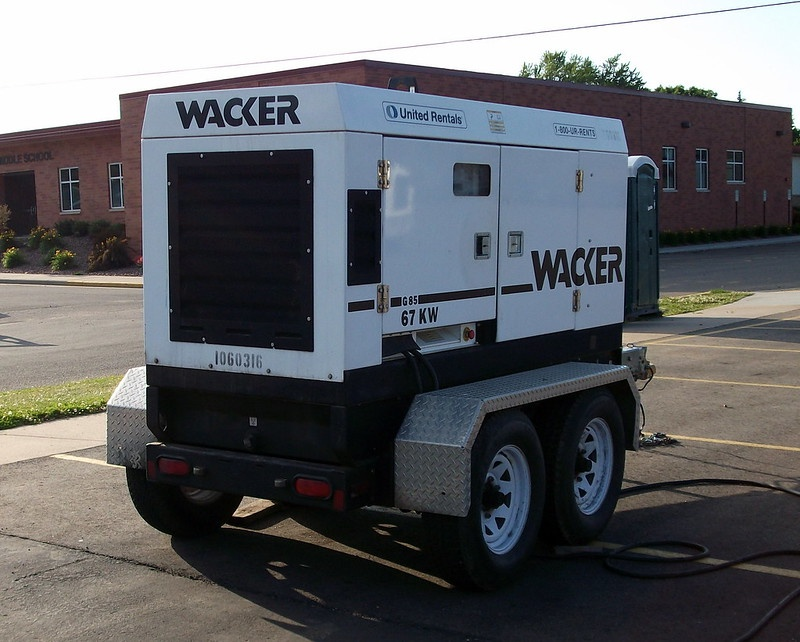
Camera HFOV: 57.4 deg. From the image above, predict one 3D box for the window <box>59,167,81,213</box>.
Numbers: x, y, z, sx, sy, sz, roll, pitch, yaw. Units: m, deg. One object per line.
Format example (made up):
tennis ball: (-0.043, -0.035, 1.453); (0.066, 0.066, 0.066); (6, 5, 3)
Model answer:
window: (-19.468, -7.860, 42.890); (0.125, 2.378, 2.500); (-5, 5, -42)

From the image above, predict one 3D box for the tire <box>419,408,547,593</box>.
tire: (0.560, 1.140, 4.697); (0.285, 1.107, 0.990); (1, 5, 42)

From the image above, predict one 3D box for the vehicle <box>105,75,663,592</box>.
vehicle: (0.238, -0.188, 6.023); (2.626, 2.897, 4.304); (5, 9, 41)

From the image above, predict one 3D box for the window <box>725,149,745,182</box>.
window: (22.931, -10.773, 49.914); (0.148, 2.504, 2.081); (4, 7, 43)

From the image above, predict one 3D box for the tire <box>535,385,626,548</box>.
tire: (1.307, 1.077, 5.370); (0.341, 1.280, 1.052); (1, -2, 42)
